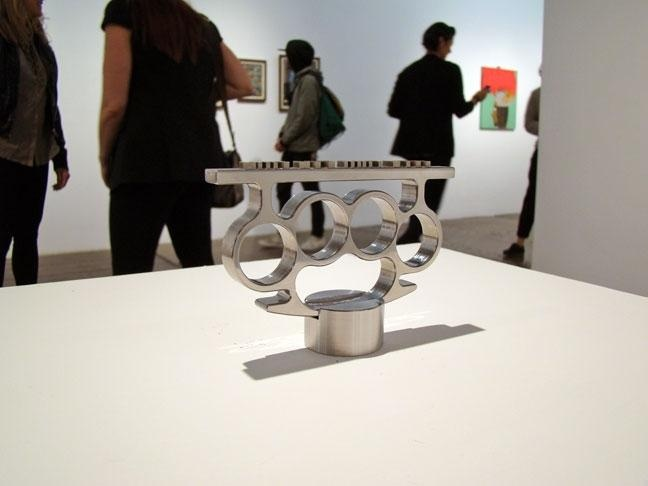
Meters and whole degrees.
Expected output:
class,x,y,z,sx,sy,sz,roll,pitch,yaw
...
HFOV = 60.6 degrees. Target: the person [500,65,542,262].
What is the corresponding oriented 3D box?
class,x,y,z,sx,sy,sz,roll,pitch,yaw
person,1.209,-0.450,3.350,0.165,1.182,0.128,7,11,32
